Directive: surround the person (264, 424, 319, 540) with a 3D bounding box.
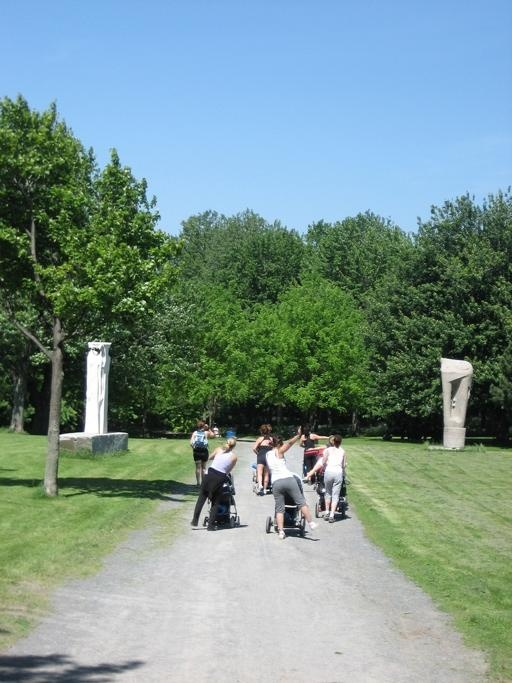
[{"bbox_3d":[0.592,2.474,12.341,0.681,1.814,0.643,-7,-13,-8],"label":"person"}]

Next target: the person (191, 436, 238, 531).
[{"bbox_3d":[-0.781,2.627,13.098,0.791,1.674,1.553,1,-4,-4],"label":"person"}]

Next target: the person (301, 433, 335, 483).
[{"bbox_3d":[1.775,3.393,19.373,0.863,0.911,0.605,7,2,-37],"label":"person"}]

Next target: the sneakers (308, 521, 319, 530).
[{"bbox_3d":[0.993,3.187,12.094,0.132,0.151,0.361,0,-2,13],"label":"sneakers"}]
